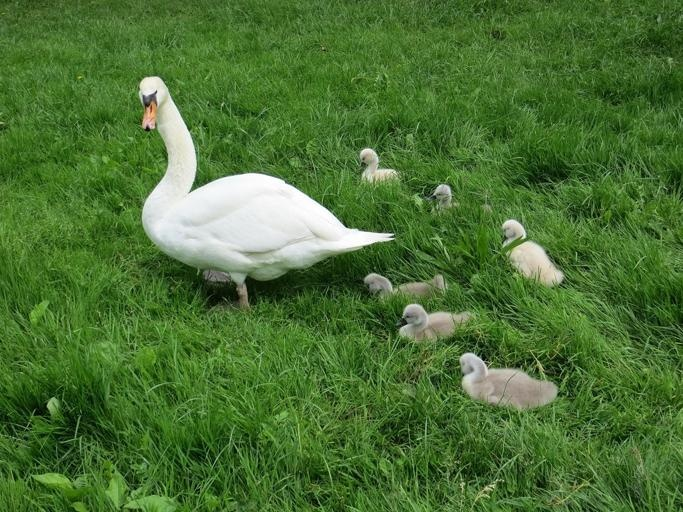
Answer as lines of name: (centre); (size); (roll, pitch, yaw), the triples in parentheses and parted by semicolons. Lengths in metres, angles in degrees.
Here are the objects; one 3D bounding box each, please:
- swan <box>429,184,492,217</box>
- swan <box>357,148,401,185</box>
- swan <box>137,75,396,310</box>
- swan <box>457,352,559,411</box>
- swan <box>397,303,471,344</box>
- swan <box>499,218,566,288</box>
swan: (1.176, -0.601, 7.703); (0.620, 0.232, 0.637); (-1, 30, 6)
swan: (0.437, -0.934, 8.406); (0.483, 0.520, 0.337); (-6, 12, 2)
swan: (-0.791, -0.485, 7.149); (2.401, 2.199, 1.293); (4, 6, 9)
swan: (1.299, 1.029, 6.061); (0.634, 0.301, 0.399); (11, 30, 16)
swan: (0.773, 0.534, 6.573); (0.552, 0.386, 0.300); (-17, 4, -7)
swan: (1.817, -0.100, 7.064); (0.672, 0.526, 0.342); (-9, 3, 23)
